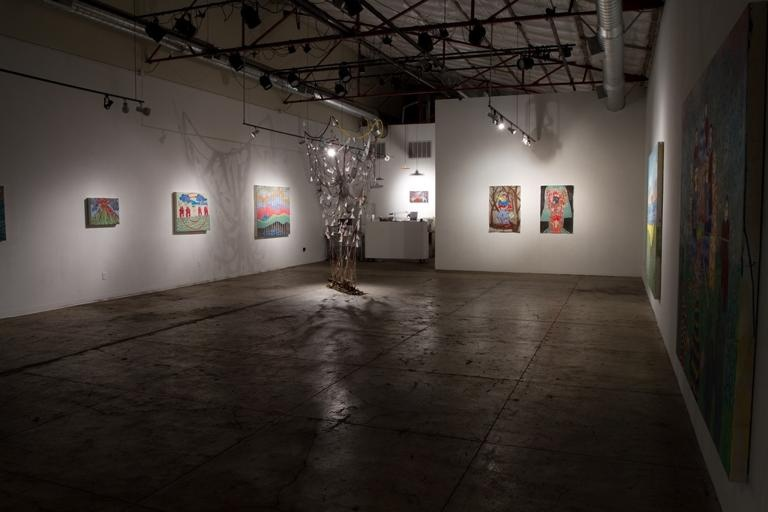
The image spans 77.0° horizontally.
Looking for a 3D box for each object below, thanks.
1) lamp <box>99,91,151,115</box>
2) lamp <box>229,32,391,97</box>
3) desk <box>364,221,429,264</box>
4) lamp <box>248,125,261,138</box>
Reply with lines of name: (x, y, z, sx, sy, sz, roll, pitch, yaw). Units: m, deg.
lamp: (-5.104, -3.095, 9.820, 0.652, 0.393, 1.162, 3, 8, 26)
lamp: (-2.569, -4.787, 12.744, 1.884, 1.040, 3.275, 2, 2, 19)
desk: (0.390, -0.560, 16.305, 1.991, 1.388, 1.126, 1, 4, 21)
lamp: (-3.543, -3.422, 13.221, 0.134, 0.340, 0.476, 7, -17, 0)
